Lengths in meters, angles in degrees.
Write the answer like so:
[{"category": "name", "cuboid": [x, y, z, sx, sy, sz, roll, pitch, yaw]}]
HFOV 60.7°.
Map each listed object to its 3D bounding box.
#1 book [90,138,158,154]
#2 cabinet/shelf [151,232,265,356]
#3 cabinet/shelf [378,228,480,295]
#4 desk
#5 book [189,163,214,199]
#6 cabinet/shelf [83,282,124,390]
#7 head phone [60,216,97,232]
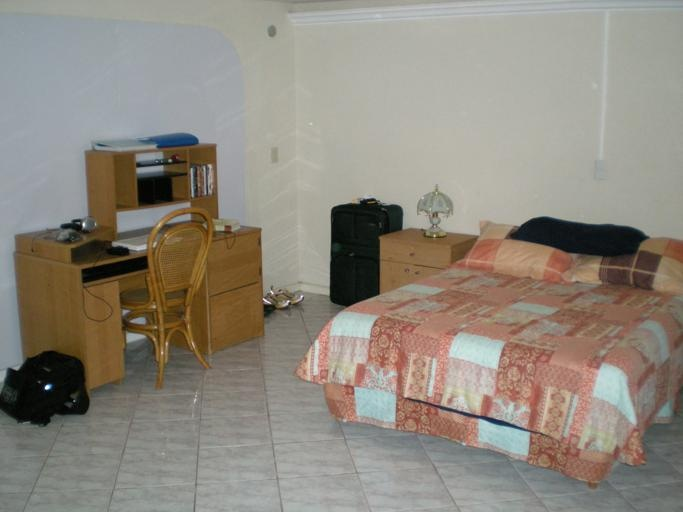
[{"category": "book", "cuboid": [-1.667, -0.837, 4.422, 0.430, 0.087, 0.333, 6, 13, 25]}, {"category": "cabinet/shelf", "cuboid": [-1.060, 0.287, 4.472, 0.621, 0.981, 0.842, 9, 17, 30]}, {"category": "cabinet/shelf", "cuboid": [0.695, -0.053, 5.168, 0.577, 0.641, 0.777, -11, 15, -44]}, {"category": "desk", "cuboid": [-1.502, 0.385, 4.184, 0.508, 0.773, 1.281, 7, 13, 33]}, {"category": "book", "cuboid": [-1.159, -0.619, 4.779, 0.178, 0.260, 0.305, 7, 10, 25]}, {"category": "cabinet/shelf", "cuboid": [-1.633, 0.562, 3.987, 0.143, 0.777, 0.271, 3, 14, 11]}, {"category": "head phone", "cuboid": [-1.875, -0.229, 4.146, 0.197, 0.082, 0.129, -1, 3, 15]}]
